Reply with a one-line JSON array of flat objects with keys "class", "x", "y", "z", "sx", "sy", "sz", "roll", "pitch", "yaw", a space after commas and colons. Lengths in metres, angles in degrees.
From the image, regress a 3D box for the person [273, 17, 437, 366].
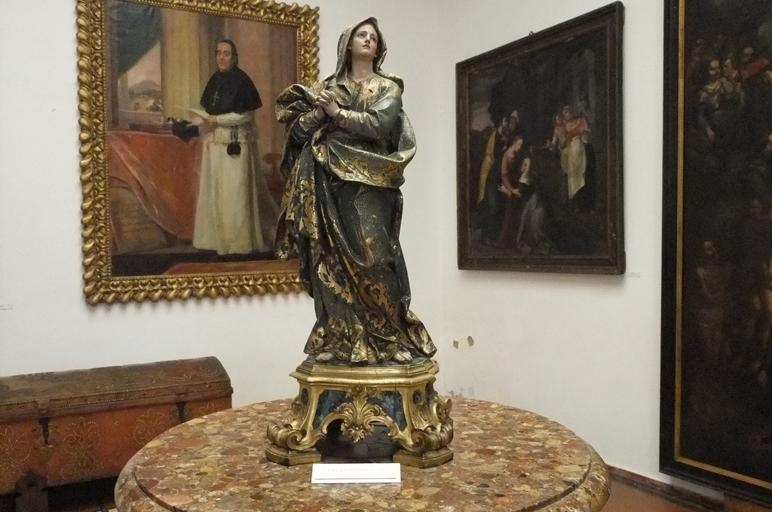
[{"class": "person", "x": -0.238, "y": -0.426, "z": 5.052, "sx": 0.926, "sy": 2.150, "sz": 0.665, "roll": -4, "pitch": 10, "yaw": -8}]
